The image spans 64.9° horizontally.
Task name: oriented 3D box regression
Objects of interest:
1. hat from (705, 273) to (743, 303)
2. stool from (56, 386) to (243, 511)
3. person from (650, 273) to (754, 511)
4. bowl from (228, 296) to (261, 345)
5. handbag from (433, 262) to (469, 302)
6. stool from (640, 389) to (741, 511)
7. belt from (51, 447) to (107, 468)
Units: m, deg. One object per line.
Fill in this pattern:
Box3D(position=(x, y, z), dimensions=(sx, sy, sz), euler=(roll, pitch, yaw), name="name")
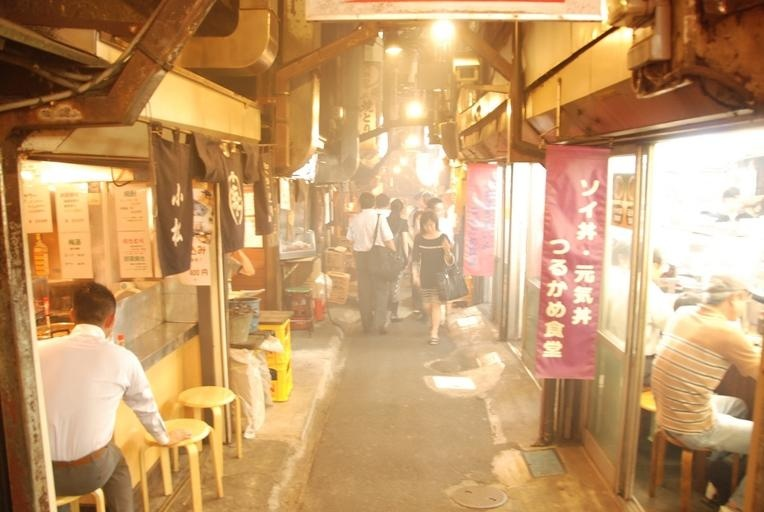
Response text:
Box3D(position=(3.547, 0.317, 6.194), dimensions=(0.338, 0.215, 0.845), euler=(5, 11, 29), name="hat")
Box3D(position=(-2.342, 1.964, 6.018), dimensions=(0.526, 0.602, 1.544), euler=(6, 9, 15), name="stool")
Box3D(position=(3.209, 1.122, 5.983), dimensions=(0.912, 1.722, 0.412), euler=(4, 12, 23), name="person")
Box3D(position=(-1.920, 0.911, 8.419), dimensions=(0.501, 0.379, 0.517), euler=(0, -1, 0), name="bowl")
Box3D(position=(1.365, 0.519, 11.937), dimensions=(0.761, 1.056, 0.331), euler=(-10, 11, -25), name="handbag")
Box3D(position=(3.284, 2.142, 6.633), dimensions=(1.111, 1.494, 1.044), euler=(0, 3, 25), name="stool")
Box3D(position=(-2.594, 1.712, 5.105), dimensions=(0.351, 0.081, 0.348), euler=(0, -2, 15), name="belt")
